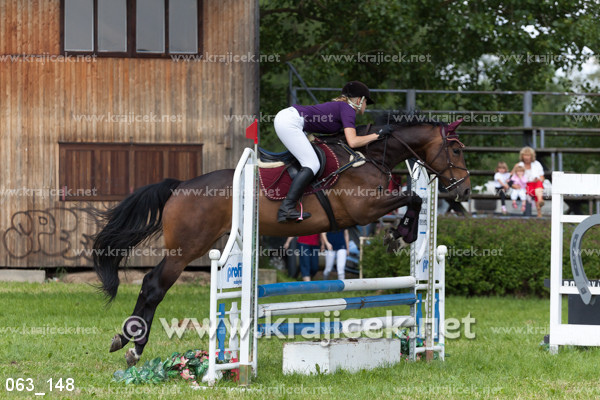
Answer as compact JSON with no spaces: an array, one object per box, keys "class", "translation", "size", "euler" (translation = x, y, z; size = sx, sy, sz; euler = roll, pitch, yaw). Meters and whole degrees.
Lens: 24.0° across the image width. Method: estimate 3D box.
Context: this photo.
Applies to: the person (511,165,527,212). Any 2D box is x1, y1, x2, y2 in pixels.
[{"class":"person","translation":[5.458,-0.289,34.775],"size":[0.430,1.004,0.422],"euler":[-1,10,15]}]
